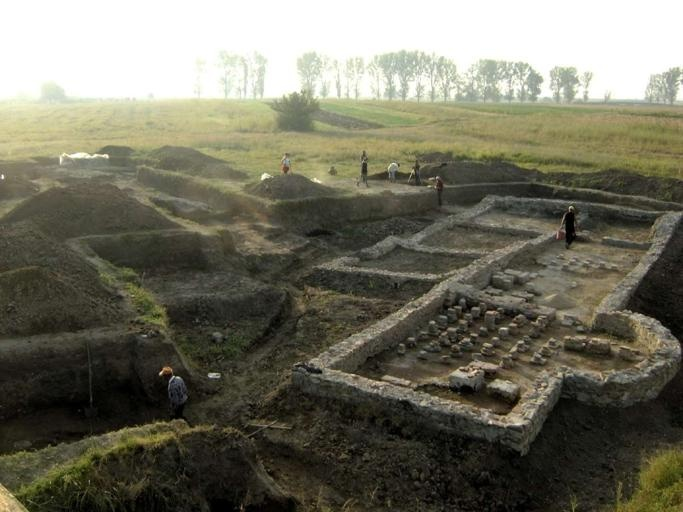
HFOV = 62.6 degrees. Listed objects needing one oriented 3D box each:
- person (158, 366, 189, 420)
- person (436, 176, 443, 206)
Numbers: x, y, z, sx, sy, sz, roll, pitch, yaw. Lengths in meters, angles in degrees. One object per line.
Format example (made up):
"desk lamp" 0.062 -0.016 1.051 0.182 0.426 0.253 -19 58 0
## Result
"person" -3.242 2.513 10.878 0.535 1.045 1.220 -7 18 -19
"person" 4.310 -2.886 25.030 0.316 1.201 0.643 1 17 6
